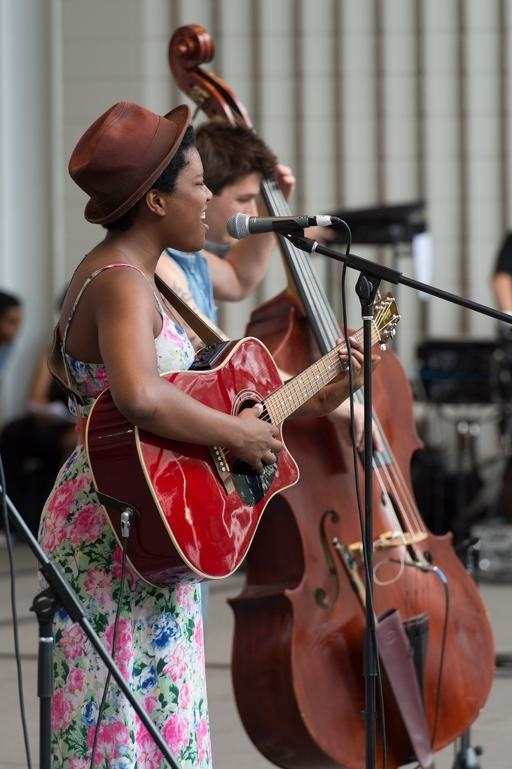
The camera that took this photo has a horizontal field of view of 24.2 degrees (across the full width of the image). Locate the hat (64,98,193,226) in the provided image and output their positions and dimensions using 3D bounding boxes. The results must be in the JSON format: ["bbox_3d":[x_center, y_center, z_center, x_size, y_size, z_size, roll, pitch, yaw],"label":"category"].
[{"bbox_3d":[-0.230,-0.385,2.233,0.090,0.227,0.199,30,17,-32],"label":"hat"}]

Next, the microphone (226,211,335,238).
[{"bbox_3d":[0.033,-0.344,2.425,0.247,0.064,0.067,1,-19,-2],"label":"microphone"}]

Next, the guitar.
[{"bbox_3d":[-0.024,0.130,2.401,0.102,0.294,0.726,-15,10,33],"label":"guitar"}]

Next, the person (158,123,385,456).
[{"bbox_3d":[-0.060,-0.201,3.011,0.418,0.834,0.140,1,-9,-40],"label":"person"}]
